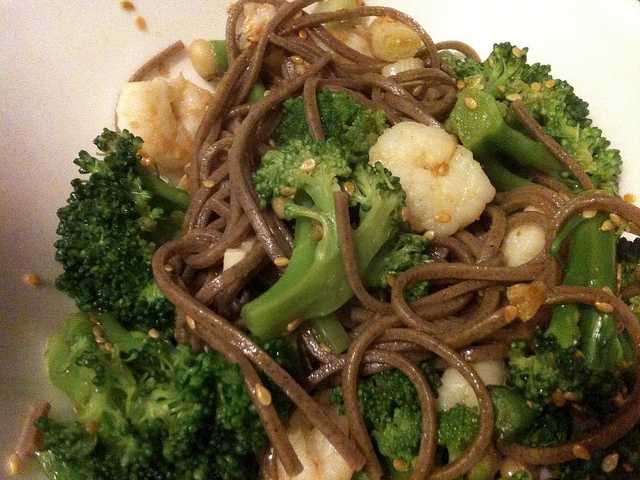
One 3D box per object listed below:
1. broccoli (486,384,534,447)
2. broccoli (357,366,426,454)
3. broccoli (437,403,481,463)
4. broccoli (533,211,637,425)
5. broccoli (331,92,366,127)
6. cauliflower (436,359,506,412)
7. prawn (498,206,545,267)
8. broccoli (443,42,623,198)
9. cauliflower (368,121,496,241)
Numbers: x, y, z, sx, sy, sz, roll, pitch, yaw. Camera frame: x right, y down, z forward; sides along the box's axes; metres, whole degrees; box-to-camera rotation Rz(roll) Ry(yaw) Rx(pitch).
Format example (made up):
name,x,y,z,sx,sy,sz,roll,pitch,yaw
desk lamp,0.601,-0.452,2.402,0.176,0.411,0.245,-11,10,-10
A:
name,x,y,z,sx,sy,sz,roll,pitch,yaw
broccoli,0.837,0.755,2.867,0.183,0.223,0.130,-7,-28,12
broccoli,0.326,0.747,2.924,0.289,0.394,0.094,-21,-9,-5
broccoli,0.609,0.825,2.840,0.222,0.222,0.058,-40,-11,9
broccoli,1.165,0.370,2.869,0.277,1.093,0.303,13,-13,-33
broccoli,0.135,-0.669,3.210,0.071,0.163,0.166,-38,-18,-30
cauliflower,0.668,0.634,2.991,0.226,0.271,0.143,37,-10,-18
prawn,0.946,0.008,3.045,0.201,0.208,0.058,-33,-44,30
broccoli,1.067,-0.596,3.432,0.707,0.958,0.318,-27,3,0
cauliflower,0.529,-0.248,3.118,0.458,0.605,0.378,-5,7,-38
